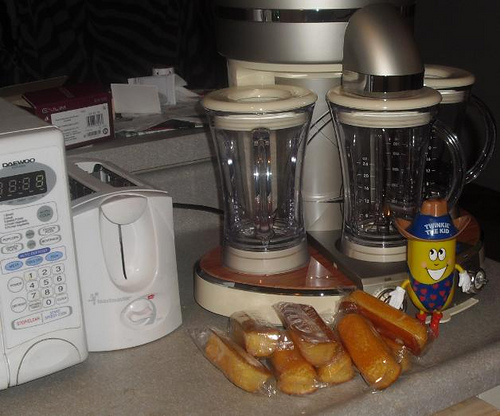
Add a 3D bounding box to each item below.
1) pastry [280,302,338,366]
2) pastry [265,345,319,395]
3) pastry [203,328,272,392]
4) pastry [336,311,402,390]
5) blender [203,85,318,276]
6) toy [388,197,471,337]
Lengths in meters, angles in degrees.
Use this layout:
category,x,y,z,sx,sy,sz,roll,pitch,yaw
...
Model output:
category,x,y,z,sx,sy,sz,roll,pitch,yaw
pastry,0.067,0.143,0.498,0.051,0.029,0.103,-3,14,-16
pastry,0.044,0.177,0.480,0.043,0.031,0.082,-6,11,-8
pastry,-0.014,0.167,0.492,0.054,0.031,0.100,3,11,-44
pastry,0.128,0.152,0.465,0.045,0.030,0.088,-38,37,1
blender,-0.002,-0.035,0.630,0.145,0.278,0.150,2,23,-4
toy,0.224,0.082,0.526,0.103,0.195,0.066,-8,24,3
